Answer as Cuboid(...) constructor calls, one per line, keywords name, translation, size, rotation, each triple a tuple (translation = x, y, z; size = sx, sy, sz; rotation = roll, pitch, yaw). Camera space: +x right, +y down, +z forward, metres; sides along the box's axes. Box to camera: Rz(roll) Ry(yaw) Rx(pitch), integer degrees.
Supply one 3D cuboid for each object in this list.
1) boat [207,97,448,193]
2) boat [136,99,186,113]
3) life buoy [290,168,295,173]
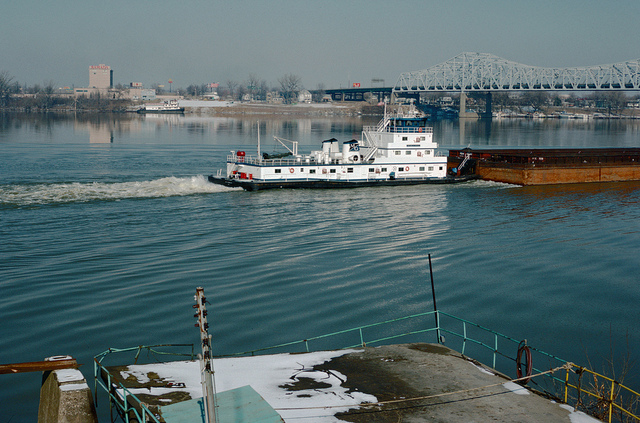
Cuboid(name="boat", translation=(1.798, -7.010, 80.652), size=(25.786, 8.601, 12.281), rotation=(-1, 8, -8))
Cuboid(name="boat", translation=(-50.723, -33.693, 258.423), size=(12.595, 3.882, 14.009), rotation=(0, 8, 2))
Cuboid(name="life buoy", translation=(-2.693, -3.927, 76.293), size=(0.588, 0.486, 0.138), rotation=(2, 4, -11))
